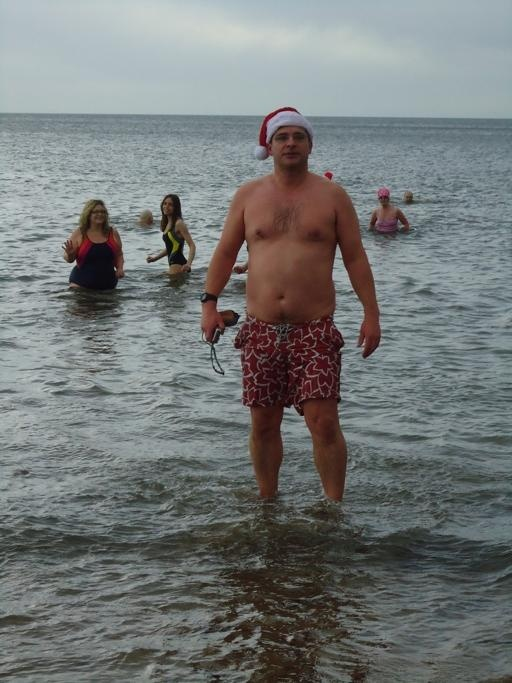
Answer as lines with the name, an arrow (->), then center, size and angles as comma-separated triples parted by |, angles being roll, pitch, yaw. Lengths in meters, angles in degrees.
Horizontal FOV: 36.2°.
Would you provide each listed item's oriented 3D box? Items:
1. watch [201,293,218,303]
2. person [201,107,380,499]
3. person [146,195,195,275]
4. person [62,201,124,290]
watch -> -0.248, -0.227, 4.216 | 0.080, 0.044, 0.079 | 5, -10, -25
person -> 0.171, -0.140, 4.147 | 0.888, 2.149, 0.632 | 12, 19, 35
person -> -1.349, -1.724, 12.304 | 0.712, 1.180, 1.554 | -1, 14, -5
person -> -2.223, -1.326, 10.652 | 0.839, 1.221, 0.600 | -6, 17, -24
